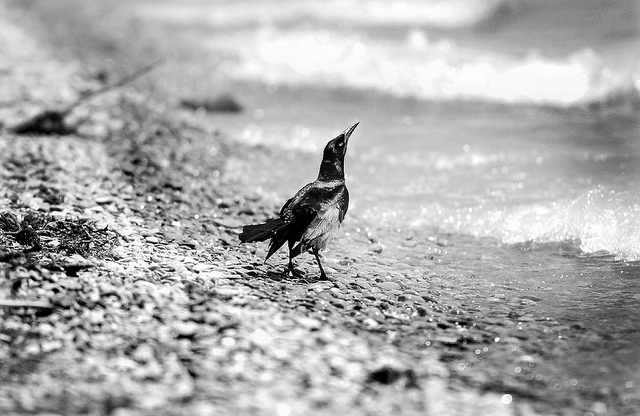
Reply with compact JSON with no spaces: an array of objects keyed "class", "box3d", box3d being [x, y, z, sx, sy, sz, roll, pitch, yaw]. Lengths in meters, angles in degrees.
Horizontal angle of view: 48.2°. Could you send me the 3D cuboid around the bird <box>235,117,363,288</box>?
[{"class":"bird","box3d":[-0.136,-0.145,6.589,0.929,1.249,0.359,1,10,-38]}]
